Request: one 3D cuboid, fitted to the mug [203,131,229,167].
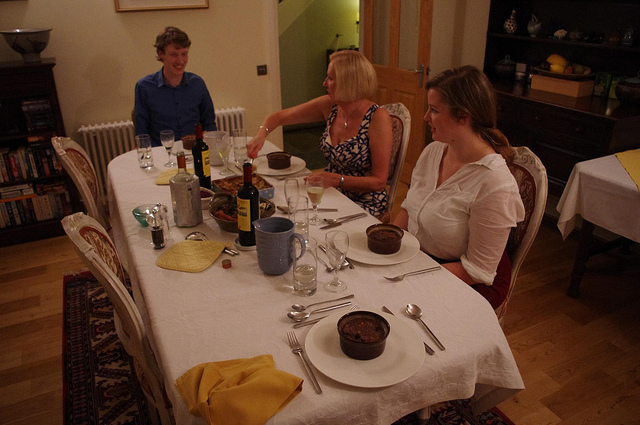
[{"bbox_3d":[-0.723,-0.451,2.962,0.155,0.233,0.315,-11,26,-14],"label":"mug"}]

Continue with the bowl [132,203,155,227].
[{"bbox_3d":[-0.992,-0.002,2.357,0.124,0.069,0.126,1,30,-1],"label":"bowl"}]

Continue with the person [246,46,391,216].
[{"bbox_3d":[0.012,-0.299,3.162,0.969,1.658,0.654,-5,28,-7],"label":"person"}]

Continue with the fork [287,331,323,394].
[{"bbox_3d":[-0.057,0.581,1.630,0.044,0.038,0.325,-26,44,-13],"label":"fork"}]

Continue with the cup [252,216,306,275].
[{"bbox_3d":[-0.166,0.179,1.978,0.244,0.186,0.155,3,5,39],"label":"cup"}]

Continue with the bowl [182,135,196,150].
[{"bbox_3d":[-0.977,-0.528,3.157,0.106,0.056,0.129,-3,28,-7],"label":"bowl"}]

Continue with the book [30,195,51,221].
[{"bbox_3d":[-2.626,-0.034,3.978,0.192,0.201,0.046,-22,19,-32],"label":"book"}]

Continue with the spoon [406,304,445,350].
[{"bbox_3d":[0.418,0.454,1.720,0.060,0.036,0.254,-13,45,-16],"label":"spoon"}]

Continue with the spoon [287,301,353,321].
[{"bbox_3d":[0.003,0.418,1.805,0.286,0.021,0.046,-11,26,-14],"label":"spoon"}]

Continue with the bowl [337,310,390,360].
[{"bbox_3d":[0.169,0.482,1.656,0.199,0.123,0.148,-3,25,2],"label":"bowl"}]

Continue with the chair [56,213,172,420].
[{"bbox_3d":[-1.153,0.624,2.357,0.614,0.989,0.591,-20,46,-14],"label":"chair"}]

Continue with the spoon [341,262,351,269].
[{"bbox_3d":[0.130,0.250,2.032,0.028,0.021,0.028,-3,30,-8],"label":"spoon"}]

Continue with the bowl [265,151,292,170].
[{"bbox_3d":[-0.275,-0.361,2.860,0.144,0.062,0.144,0,27,0],"label":"bowl"}]
